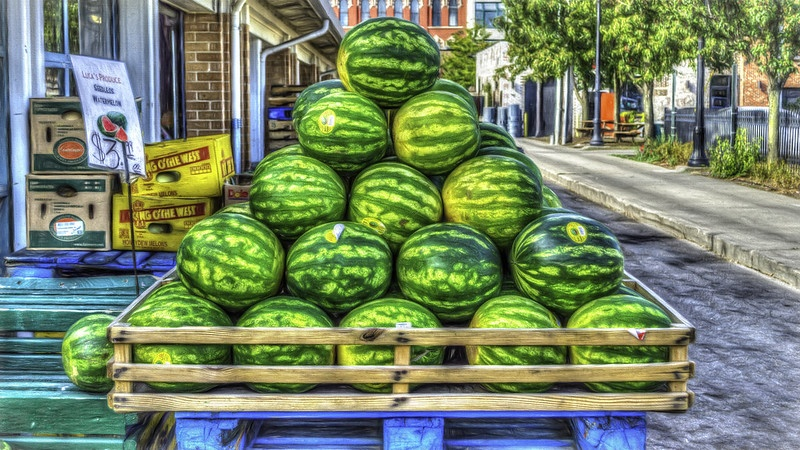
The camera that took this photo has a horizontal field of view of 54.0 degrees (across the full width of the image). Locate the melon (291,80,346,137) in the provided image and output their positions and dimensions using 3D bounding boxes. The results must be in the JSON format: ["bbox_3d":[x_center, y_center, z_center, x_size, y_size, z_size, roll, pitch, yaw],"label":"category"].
[{"bbox_3d":[-0.754,-1.114,7.057,0.549,0.411,0.301,-23,-21,0],"label":"melon"}]

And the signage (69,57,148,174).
[{"bbox_3d":[-2.951,-1.143,7.999,0.394,1.157,0.607,4,9,43],"label":"signage"}]

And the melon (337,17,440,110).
[{"bbox_3d":[-0.122,-1.413,7.038,0.934,0.682,0.684,-3,-13,-19],"label":"melon"}]

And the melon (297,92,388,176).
[{"bbox_3d":[-0.472,-0.825,6.925,0.903,0.676,0.685,9,31,11],"label":"melon"}]

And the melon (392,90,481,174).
[{"bbox_3d":[0.270,-0.911,6.935,0.772,0.913,0.774,-1,44,-1],"label":"melon"}]

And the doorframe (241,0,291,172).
[{"bbox_3d":[-3.068,-2.949,18.857,1.131,3.111,0.312,3,23,-6],"label":"doorframe"}]
